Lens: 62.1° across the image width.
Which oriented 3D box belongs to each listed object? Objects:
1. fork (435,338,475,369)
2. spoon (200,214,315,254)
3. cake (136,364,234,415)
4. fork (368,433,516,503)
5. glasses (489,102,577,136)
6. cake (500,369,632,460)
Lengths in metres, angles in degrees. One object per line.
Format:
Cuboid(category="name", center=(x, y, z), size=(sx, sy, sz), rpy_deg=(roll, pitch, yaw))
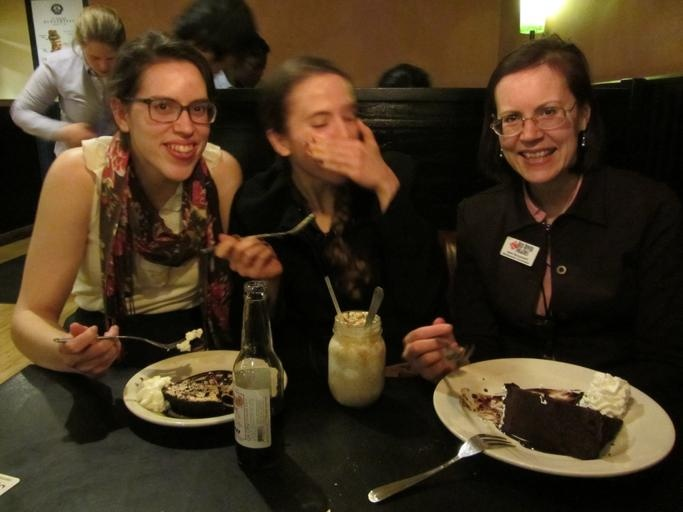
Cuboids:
Cuboid(category="fork", center=(0.245, 0.217, 1.243), size=(0.079, 0.029, 0.077), rpy_deg=(0, 15, 9))
Cuboid(category="spoon", center=(-0.224, -0.064, 1.584), size=(0.336, 0.080, 0.036), rpy_deg=(-12, 16, -11))
Cuboid(category="cake", center=(-0.307, 0.276, 1.159), size=(0.131, 0.041, 0.102), rpy_deg=(4, 22, 24))
Cuboid(category="fork", center=(0.179, 0.372, 1.011), size=(0.292, 0.057, 0.047), rpy_deg=(-8, 22, -16))
Cuboid(category="glasses", center=(0.475, -0.343, 1.422), size=(0.201, 0.078, 0.059), rpy_deg=(4, 22, 16))
Cuboid(category="cake", center=(0.404, 0.297, 1.056), size=(0.138, 0.058, 0.134), rpy_deg=(8, 4, 7))
